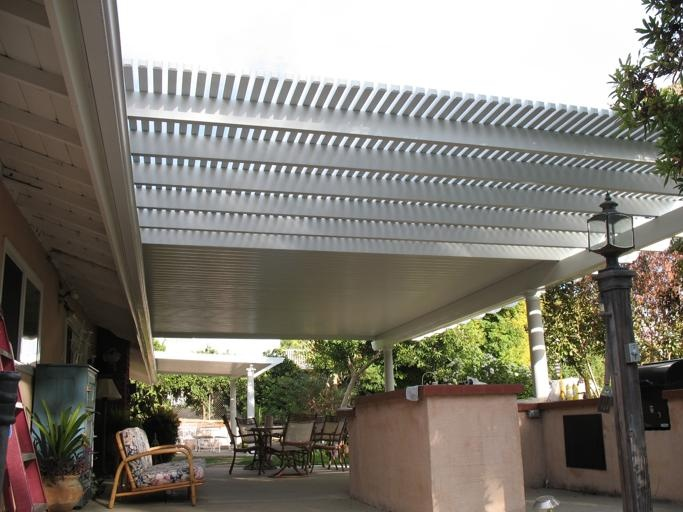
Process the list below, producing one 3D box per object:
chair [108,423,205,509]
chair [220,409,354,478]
[{"bbox_3d":[-2.358,2.617,7.053,1.034,0.913,1.892,1,-15,-19],"label":"chair"},{"bbox_3d":[-1.058,3.635,10.793,2.102,1.125,3.387,-1,-15,-11],"label":"chair"}]
